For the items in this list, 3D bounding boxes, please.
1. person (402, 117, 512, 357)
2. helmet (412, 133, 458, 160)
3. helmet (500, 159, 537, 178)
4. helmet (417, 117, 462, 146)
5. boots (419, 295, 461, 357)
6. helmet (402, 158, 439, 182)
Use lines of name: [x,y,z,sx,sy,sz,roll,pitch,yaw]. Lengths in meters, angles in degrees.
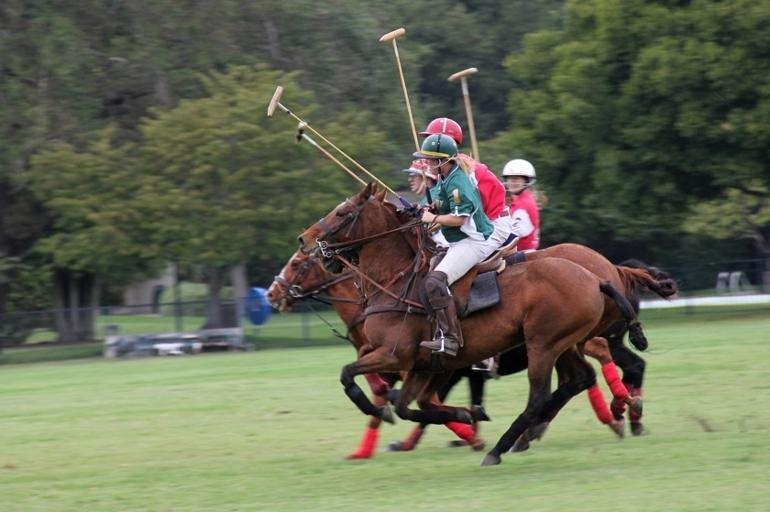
person: [1.159,-0.173,20.864,1.287,3.139,1.293,-2,18,9]
helmet: [0.780,-1.582,20.933,0.689,0.190,0.392,1,2,-5]
helmet: [2.162,-1.335,22.144,0.450,0.238,0.477,6,4,37]
helmet: [0.895,-1.855,21.373,0.800,0.248,0.419,7,7,-3]
boots: [0.814,1.010,20.751,0.596,0.842,0.327,-6,18,-7]
helmet: [0.639,-1.290,21.590,0.582,0.126,0.316,11,-8,-6]
